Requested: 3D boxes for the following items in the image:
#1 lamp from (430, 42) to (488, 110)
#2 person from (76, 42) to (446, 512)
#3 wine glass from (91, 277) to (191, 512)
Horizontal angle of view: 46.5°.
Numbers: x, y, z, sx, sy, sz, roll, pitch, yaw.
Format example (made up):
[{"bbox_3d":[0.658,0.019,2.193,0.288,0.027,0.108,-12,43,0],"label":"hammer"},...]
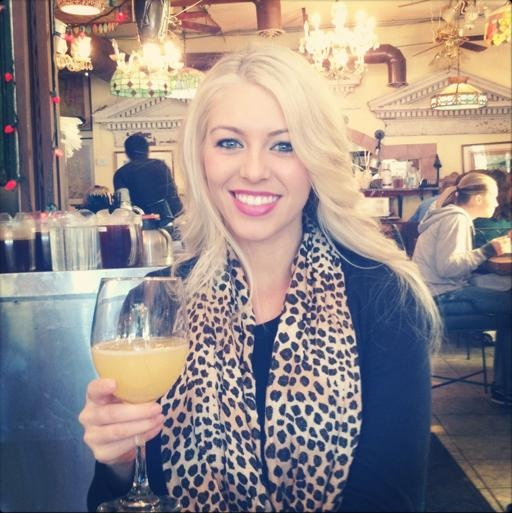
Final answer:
[{"bbox_3d":[1.091,-0.938,3.200,0.280,0.316,0.295,-2,5,5],"label":"lamp"},{"bbox_3d":[0.053,0.033,1.394,0.715,1.049,0.491,1,6,16],"label":"person"},{"bbox_3d":[-0.190,0.234,0.995,0.142,0.406,0.144,1,6,17],"label":"wine glass"}]
